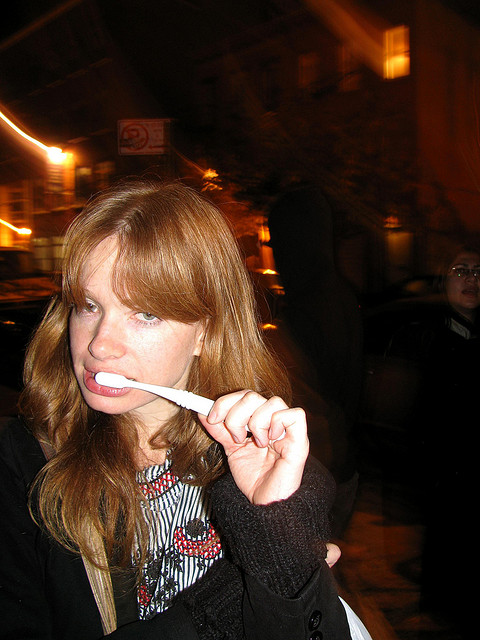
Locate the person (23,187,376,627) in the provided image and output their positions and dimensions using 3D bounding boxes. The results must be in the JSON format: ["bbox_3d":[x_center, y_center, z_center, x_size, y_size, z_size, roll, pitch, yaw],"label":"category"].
[{"bbox_3d":[-0.155,0.445,1.930,1.041,1.617,0.746,-8,12,13],"label":"person"}]

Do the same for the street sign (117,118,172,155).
[{"bbox_3d":[-0.739,-1.432,4.567,0.333,0.201,0.041,3,20,14],"label":"street sign"}]
